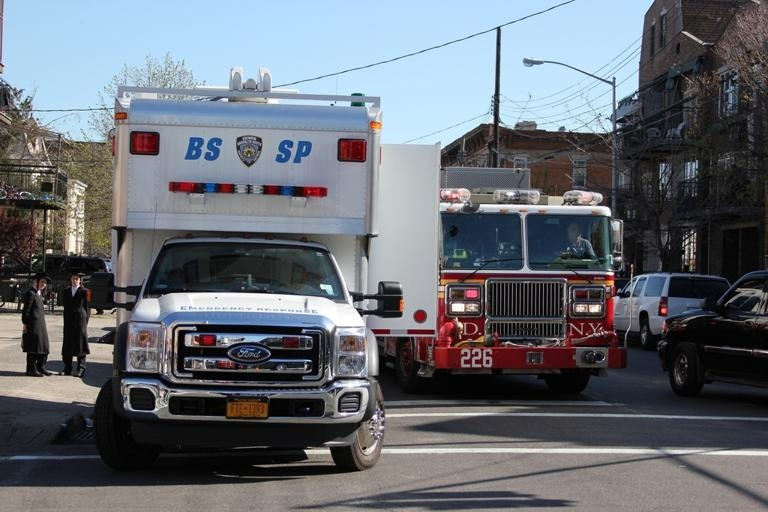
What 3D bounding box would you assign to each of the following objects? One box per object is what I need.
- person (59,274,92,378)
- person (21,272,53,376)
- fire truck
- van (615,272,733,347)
[{"bbox_3d":[-6.487,1.488,22.724,0.535,2.116,1.151,-1,6,-17],"label":"person"},{"bbox_3d":[-7.118,1.456,22.130,0.500,2.060,1.335,-1,6,-18],"label":"person"},{"bbox_3d":[2.432,0.334,23.503,3.646,3.868,7.728,1,3,-2],"label":"fire truck"},{"bbox_3d":[8.448,1.304,32.120,3.891,2.794,2.516,0,0,33],"label":"van"}]
